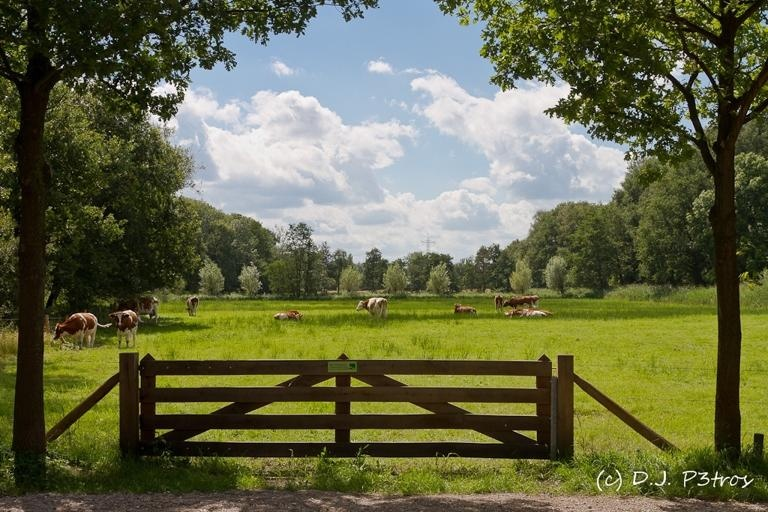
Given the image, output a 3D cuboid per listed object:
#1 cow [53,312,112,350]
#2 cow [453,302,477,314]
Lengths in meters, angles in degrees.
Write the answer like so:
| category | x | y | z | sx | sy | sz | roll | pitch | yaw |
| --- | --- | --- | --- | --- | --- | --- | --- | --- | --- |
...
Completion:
| category | x | y | z | sx | sy | sz | roll | pitch | yaw |
| --- | --- | --- | --- | --- | --- | --- | --- | --- | --- |
| cow | -14.141 | 3.445 | 45.580 | 1.598 | 1.652 | 1.812 | 1 | -5 | -10 |
| cow | 5.501 | 3.717 | 67.654 | 1.370 | 0.593 | 2.227 | 0 | -5 | 0 |
